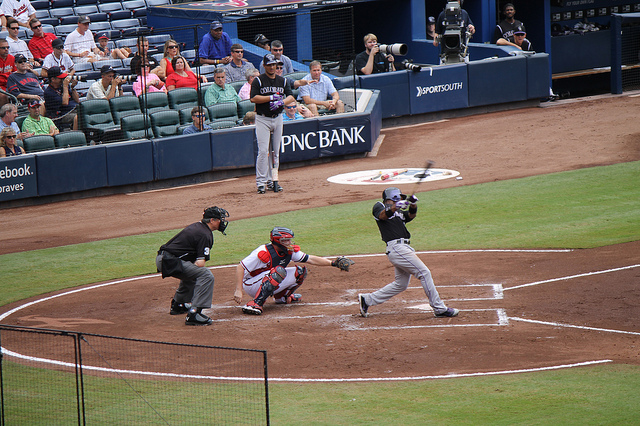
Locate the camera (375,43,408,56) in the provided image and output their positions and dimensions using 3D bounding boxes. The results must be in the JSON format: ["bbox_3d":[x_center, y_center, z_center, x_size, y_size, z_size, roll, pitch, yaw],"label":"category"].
[{"bbox_3d":[1.691,-4.298,29.625,1.145,0.310,0.382,3,-22,23],"label":"camera"}]

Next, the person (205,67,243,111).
[{"bbox_3d":[-2.361,-3.025,27.972,1.213,0.842,0.781,-23,39,-33],"label":"person"}]

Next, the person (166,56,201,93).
[{"bbox_3d":[-3.464,-3.457,28.289,1.124,0.717,0.591,-17,26,-33],"label":"person"}]

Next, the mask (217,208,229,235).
[{"bbox_3d":[-1.741,0.161,20.324,0.170,0.504,0.536,-7,9,-5],"label":"mask"}]

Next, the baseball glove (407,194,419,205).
[{"bbox_3d":[1.657,-0.214,20.044,0.189,0.116,0.203,1,-12,-30],"label":"baseball glove"}]

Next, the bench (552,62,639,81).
[{"bbox_3d":[8.388,-4.356,34.851,2.486,0.448,4.105,-1,7,9],"label":"bench"}]

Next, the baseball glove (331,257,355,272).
[{"bbox_3d":[0.441,0.965,20.645,0.432,0.138,0.279,7,10,-33],"label":"baseball glove"}]

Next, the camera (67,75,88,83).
[{"bbox_3d":[-5.768,-3.201,26.967,0.485,0.116,0.228,1,-2,0],"label":"camera"}]

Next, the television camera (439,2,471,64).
[{"bbox_3d":[3.739,-5.041,31.934,0.985,1.598,1.236,0,-1,-6],"label":"television camera"}]

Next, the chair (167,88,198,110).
[{"bbox_3d":[-3.465,-2.817,28.025,0.856,0.599,0.691,-4,8,-32],"label":"chair"}]

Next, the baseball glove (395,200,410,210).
[{"bbox_3d":[1.429,-0.135,19.867,0.262,0.098,0.285,-2,-2,11],"label":"baseball glove"}]

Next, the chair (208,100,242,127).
[{"bbox_3d":[-2.348,-2.430,27.720,0.907,0.633,0.685,-7,10,-22],"label":"chair"}]

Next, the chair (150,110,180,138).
[{"bbox_3d":[-3.742,-2.160,27.246,0.765,0.726,0.813,-9,18,-31],"label":"chair"}]

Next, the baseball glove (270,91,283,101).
[{"bbox_3d":[-0.977,-2.573,25.052,0.320,0.191,0.119,-11,12,-42],"label":"baseball glove"}]

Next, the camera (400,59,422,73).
[{"bbox_3d":[2.536,-4.053,31.226,0.426,0.255,0.606,-12,18,-29],"label":"camera"}]

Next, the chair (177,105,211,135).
[{"bbox_3d":[-3.241,-2.236,27.540,0.906,0.781,0.858,-2,3,-23],"label":"chair"}]

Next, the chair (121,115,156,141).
[{"bbox_3d":[-4.345,-2.014,26.819,0.706,0.591,0.453,-5,10,-7],"label":"chair"}]

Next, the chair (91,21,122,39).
[{"bbox_3d":[-6.111,-5.295,32.532,0.849,0.560,0.710,1,-1,-11],"label":"chair"}]

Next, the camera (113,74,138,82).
[{"bbox_3d":[-4.626,-3.228,27.037,0.462,0.100,0.291,0,2,13],"label":"camera"}]

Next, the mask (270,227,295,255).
[{"bbox_3d":[-0.589,0.492,20.349,0.544,0.341,0.380,5,11,26],"label":"mask"}]
